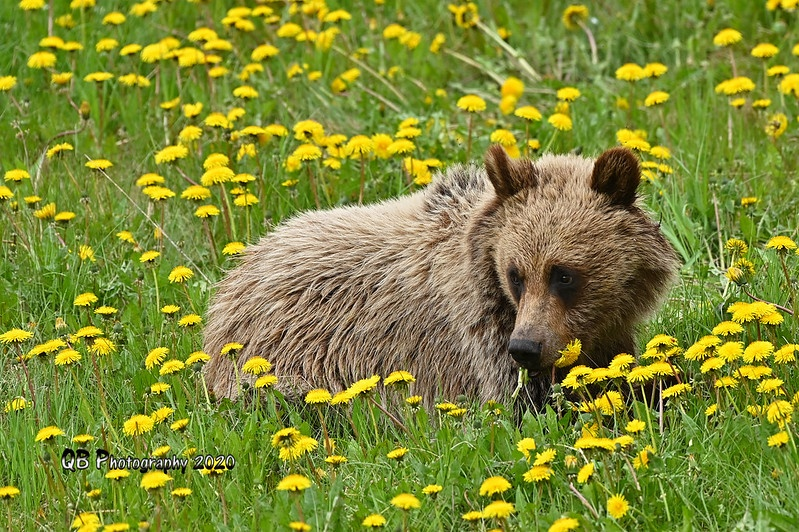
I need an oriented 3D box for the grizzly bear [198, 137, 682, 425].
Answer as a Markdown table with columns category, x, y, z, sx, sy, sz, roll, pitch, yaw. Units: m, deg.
| category | x | y | z | sx | sy | sz | roll | pitch | yaw |
| --- | --- | --- | --- | --- | --- | --- | --- | --- | --- |
| grizzly bear | 0.301 | 0.090 | 6.397 | 3.069 | 1.699 | 0.930 | -7 | 9 | 16 |
